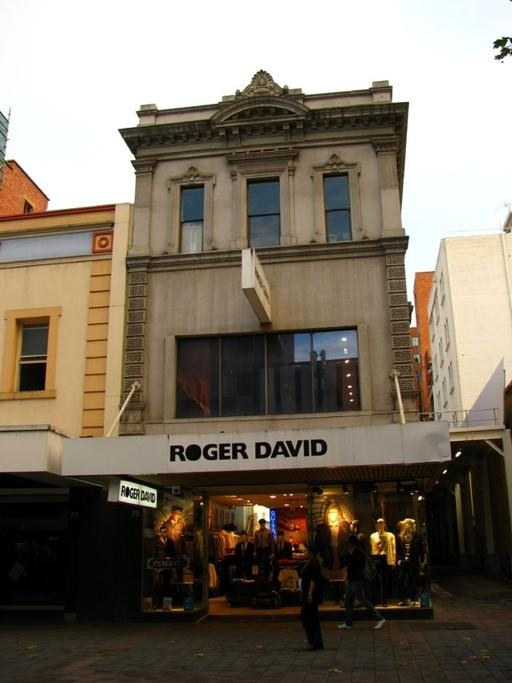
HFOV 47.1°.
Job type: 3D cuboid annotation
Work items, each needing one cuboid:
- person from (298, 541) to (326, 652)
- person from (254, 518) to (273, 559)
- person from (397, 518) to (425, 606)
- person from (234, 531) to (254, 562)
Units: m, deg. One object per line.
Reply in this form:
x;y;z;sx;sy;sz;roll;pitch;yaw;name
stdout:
0.758;3.518;7.979;0.314;1.315;0.877;-4;-14;4;person
0.182;5.046;15.099;0.469;0.900;0.637;-4;-14;3;person
3.069;4.366;11.662;0.542;1.584;0.234;-7;-15;15;person
-0.303;5.352;15.516;0.481;0.619;1.036;-2;-14;-2;person
